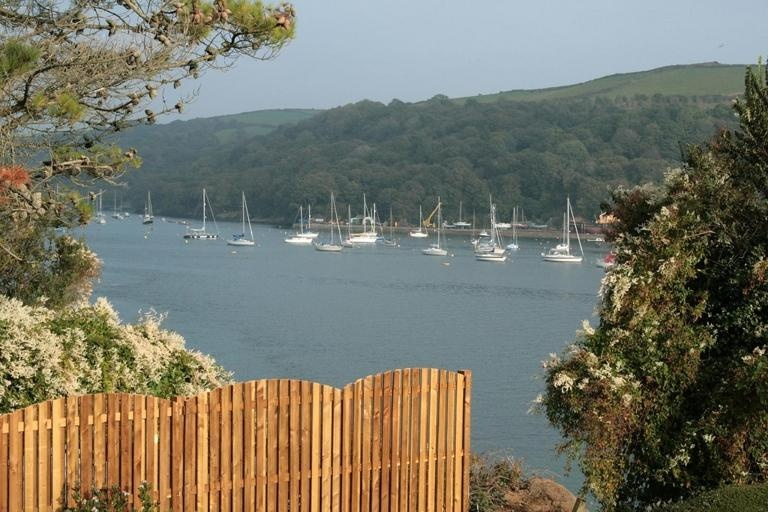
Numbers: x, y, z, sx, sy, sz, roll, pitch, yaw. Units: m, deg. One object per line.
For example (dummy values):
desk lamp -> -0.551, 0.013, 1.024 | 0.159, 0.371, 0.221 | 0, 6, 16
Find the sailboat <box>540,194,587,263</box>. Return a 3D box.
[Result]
sailboat -> 23.166, -3.513, 190.622 | 5.373, 10.364, 3.914 | 2, -4, -7
